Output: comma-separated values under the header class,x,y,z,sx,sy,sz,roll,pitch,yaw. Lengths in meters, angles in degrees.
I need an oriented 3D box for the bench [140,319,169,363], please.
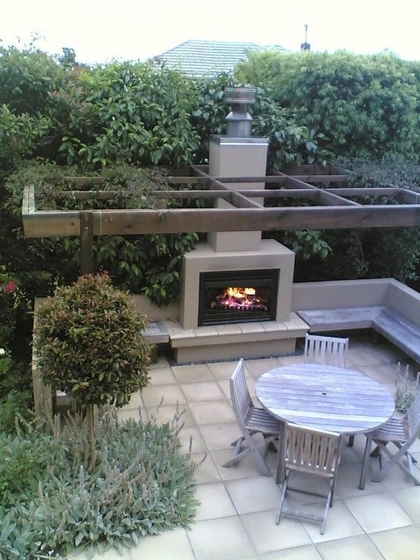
class,x,y,z,sx,sy,sz,roll,pitch,yaw
bench,-0.746,0.874,6.591,0.347,0.575,0.865,3,14,-7
